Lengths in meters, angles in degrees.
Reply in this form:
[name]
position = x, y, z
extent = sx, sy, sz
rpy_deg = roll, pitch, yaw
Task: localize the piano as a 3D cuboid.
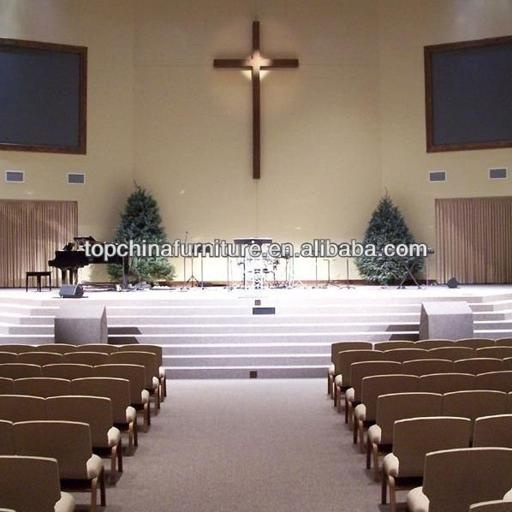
[piano]
position = -3.623, 0.013, 11.419
extent = 1.210, 1.022, 1.152
rpy_deg = 1, -3, -16
